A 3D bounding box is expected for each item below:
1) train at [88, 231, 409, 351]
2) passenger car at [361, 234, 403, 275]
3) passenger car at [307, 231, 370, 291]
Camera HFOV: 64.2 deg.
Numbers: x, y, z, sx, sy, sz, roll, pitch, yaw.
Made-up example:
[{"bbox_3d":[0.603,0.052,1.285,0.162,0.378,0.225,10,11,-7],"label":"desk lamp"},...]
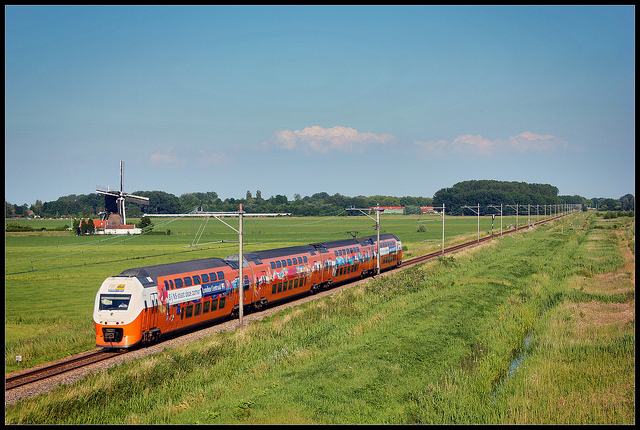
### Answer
[{"bbox_3d":[-2.670,6.030,52.387,3.979,4.798,38.351,-12,-3,44],"label":"train"},{"bbox_3d":[8.373,5.095,69.204,2.421,3.529,10.328,2,6,24],"label":"passenger car"},{"bbox_3d":[-0.517,6.376,61.011,5.725,6.661,10.765,2,9,17],"label":"passenger car"}]
